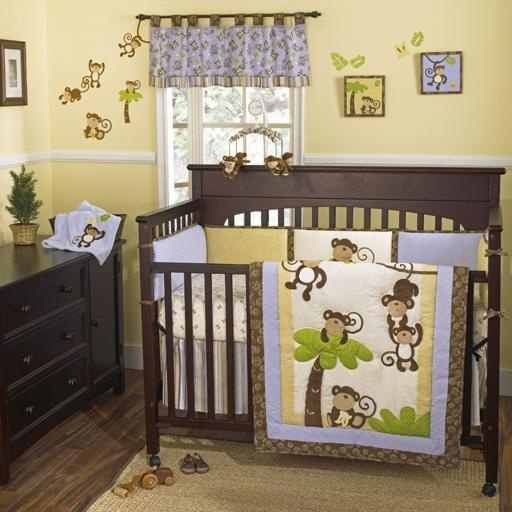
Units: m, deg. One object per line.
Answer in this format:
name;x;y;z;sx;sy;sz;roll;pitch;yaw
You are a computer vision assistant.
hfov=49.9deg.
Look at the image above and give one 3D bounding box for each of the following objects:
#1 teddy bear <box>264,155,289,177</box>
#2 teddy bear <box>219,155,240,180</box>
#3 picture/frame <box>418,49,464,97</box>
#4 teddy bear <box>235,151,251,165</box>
teddy bear;0.110;-0.433;2.645;0.115;0.084;0.071;4;-4;-30
teddy bear;-0.126;-0.432;2.721;0.103;0.110;0.050;9;19;30
picture/frame;0.882;-0.876;2.607;0.208;0.224;0.016;4;19;15
teddy bear;-0.066;-0.477;2.744;0.073;0.078;0.039;-27;12;-17
